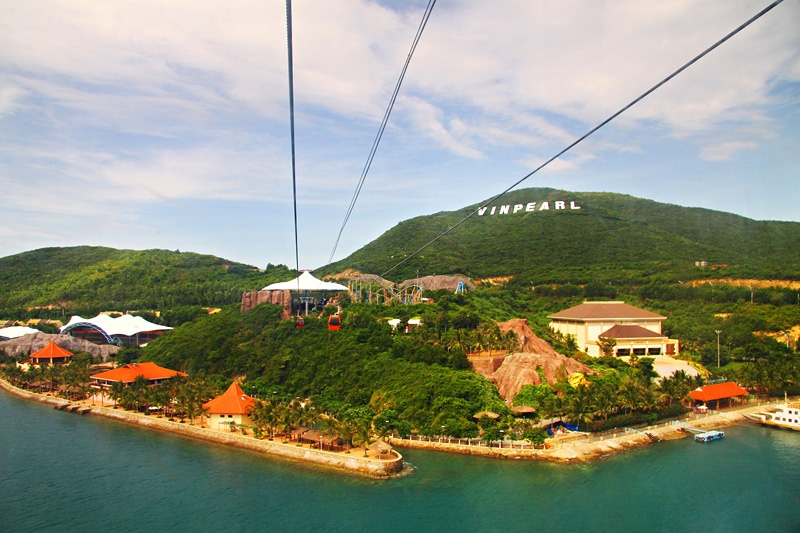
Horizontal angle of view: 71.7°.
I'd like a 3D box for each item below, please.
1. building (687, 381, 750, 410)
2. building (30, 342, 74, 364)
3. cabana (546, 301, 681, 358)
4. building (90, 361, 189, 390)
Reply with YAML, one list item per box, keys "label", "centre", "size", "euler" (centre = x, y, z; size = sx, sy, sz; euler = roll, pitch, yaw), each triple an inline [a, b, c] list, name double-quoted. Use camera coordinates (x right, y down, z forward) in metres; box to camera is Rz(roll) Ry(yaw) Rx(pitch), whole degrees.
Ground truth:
- label: "building"
  centre: [66.721, 27.283, 115.894]
  size: [14.965, 4.718, 3.506]
  euler: [-5, 12, -25]
- label: "building"
  centre: [-95.738, 24.333, 153.740]
  size: [8.022, 3.058, 7.261]
  euler: [0, -5, -2]
- label: "cabana"
  centre: [48.909, 15.757, 133.015]
  size: [15.684, 7.045, 22.103]
  euler: [0, 0, -6]
- label: "building"
  centre: [-59.551, 24.718, 124.081]
  size: [18.894, 4.517, 11.199]
  euler: [3, 10, 16]
